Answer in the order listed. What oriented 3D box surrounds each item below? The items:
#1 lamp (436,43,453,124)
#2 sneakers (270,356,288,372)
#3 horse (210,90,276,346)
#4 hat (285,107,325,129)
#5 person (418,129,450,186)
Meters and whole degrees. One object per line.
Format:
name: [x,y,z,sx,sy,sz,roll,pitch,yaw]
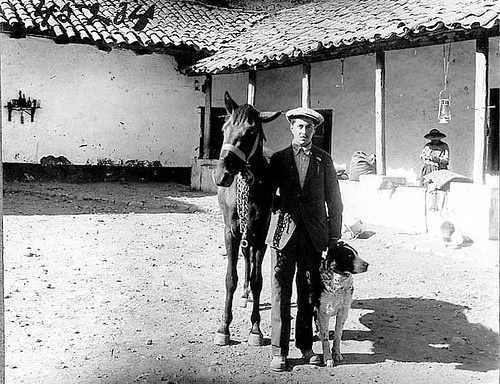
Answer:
lamp: [3.530,-1.891,11.193,0.259,1.446,1.191,5,15,16]
sneakers: [0.307,1.726,6.365,0.211,0.147,0.110,-6,16,-27]
horse: [-0.033,0.276,6.797,0.667,2.610,0.935,2,14,2]
hat: [0.551,-0.760,6.423,0.384,0.212,0.333,2,15,2]
person: [3.338,-0.625,11.225,0.491,0.938,1.112,6,16,18]
